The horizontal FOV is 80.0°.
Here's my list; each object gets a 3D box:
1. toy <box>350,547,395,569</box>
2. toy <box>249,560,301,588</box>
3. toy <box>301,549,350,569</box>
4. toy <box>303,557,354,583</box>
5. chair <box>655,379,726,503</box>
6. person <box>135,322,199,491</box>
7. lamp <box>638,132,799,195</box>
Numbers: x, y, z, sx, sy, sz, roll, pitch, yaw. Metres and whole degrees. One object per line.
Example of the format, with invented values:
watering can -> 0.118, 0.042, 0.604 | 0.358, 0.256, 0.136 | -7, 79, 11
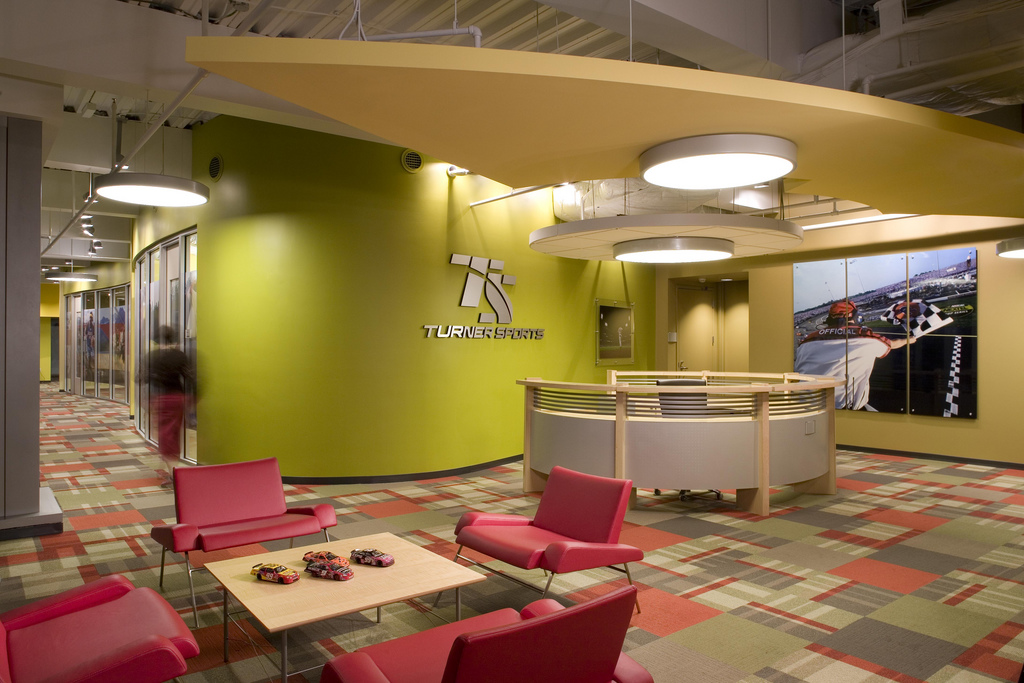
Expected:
toy -> -1.169, 1.819, 5.152 | 0.261, 0.074, 0.151 | -1, -2, 14
toy -> -1.882, 1.839, 4.857 | 0.263, 0.069, 0.163 | 0, -1, 18
toy -> -1.558, 1.800, 5.094 | 0.318, 0.076, 0.170 | -1, -5, 19
toy -> -1.459, 1.836, 4.917 | 0.278, 0.082, 0.161 | 0, -1, 17
chair -> 2.526, 1.373, 8.746 | 0.947, 1.709, 1.826 | 1, 4, 15
person -> -6.448, 1.110, 11.389 | 0.911, 2.335, 0.729 | 0, -2, -42
lamp -> 1.875, -1.653, 5.654 | 1.368, 0.330, 0.738 | 1, 4, 19
